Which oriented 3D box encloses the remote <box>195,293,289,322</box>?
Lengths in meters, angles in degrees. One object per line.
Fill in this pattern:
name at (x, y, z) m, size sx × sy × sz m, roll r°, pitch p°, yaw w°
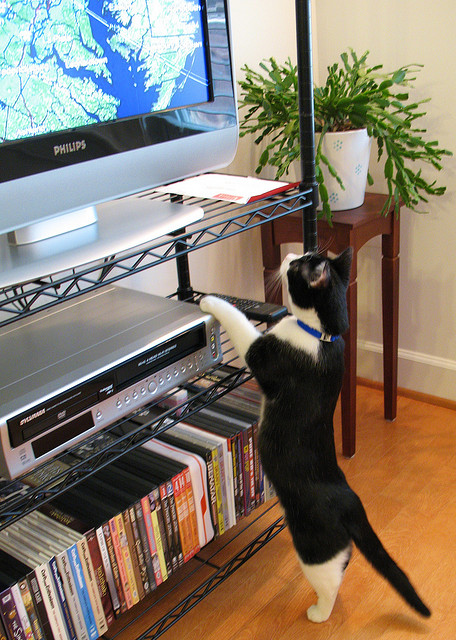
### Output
remote at (0.040, -0.027, 0.978) m, size 0.159 × 0.019 × 0.071 m, roll 13°, pitch 26°, yaw 27°
